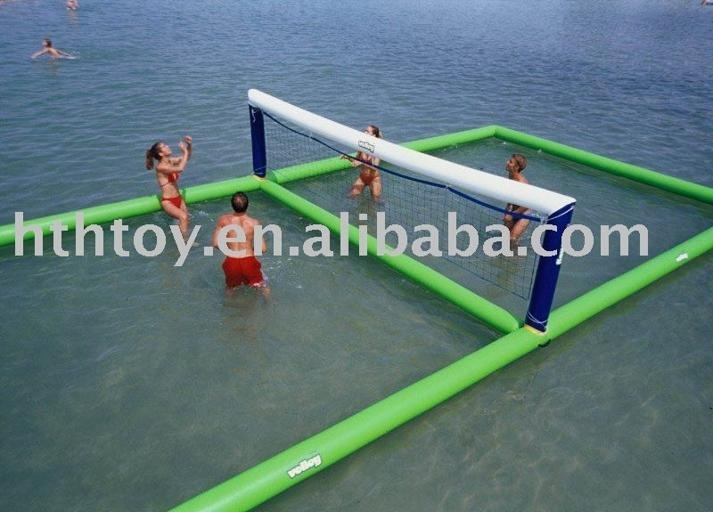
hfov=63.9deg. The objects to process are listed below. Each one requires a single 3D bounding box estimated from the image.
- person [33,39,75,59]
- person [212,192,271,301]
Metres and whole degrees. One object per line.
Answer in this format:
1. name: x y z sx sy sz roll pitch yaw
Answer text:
1. person: -11.063 -7.369 20.579 1.061 0.476 1.246 -22 44 -40
2. person: -1.897 -0.166 9.361 0.829 1.613 0.854 -6 40 -16
